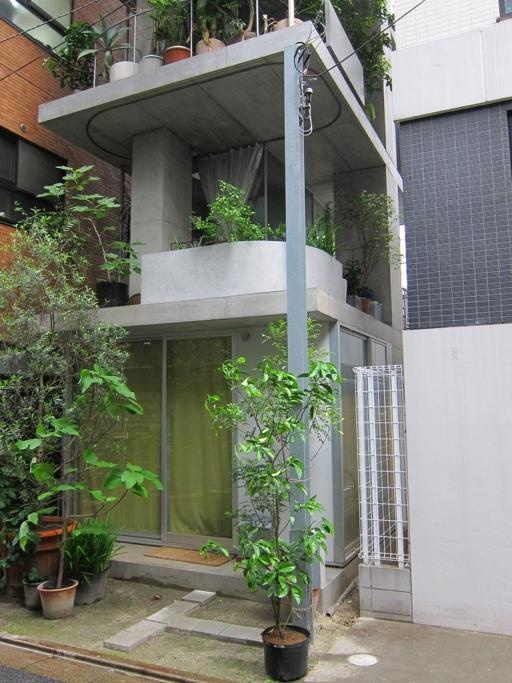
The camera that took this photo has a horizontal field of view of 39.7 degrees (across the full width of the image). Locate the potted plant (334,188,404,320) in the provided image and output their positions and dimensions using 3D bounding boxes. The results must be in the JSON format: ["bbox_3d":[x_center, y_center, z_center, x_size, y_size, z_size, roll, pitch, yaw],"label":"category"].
[{"bbox_3d":[1.505,-1.334,9.570,0.887,1.559,1.074,-1,3,7],"label":"potted plant"}]
